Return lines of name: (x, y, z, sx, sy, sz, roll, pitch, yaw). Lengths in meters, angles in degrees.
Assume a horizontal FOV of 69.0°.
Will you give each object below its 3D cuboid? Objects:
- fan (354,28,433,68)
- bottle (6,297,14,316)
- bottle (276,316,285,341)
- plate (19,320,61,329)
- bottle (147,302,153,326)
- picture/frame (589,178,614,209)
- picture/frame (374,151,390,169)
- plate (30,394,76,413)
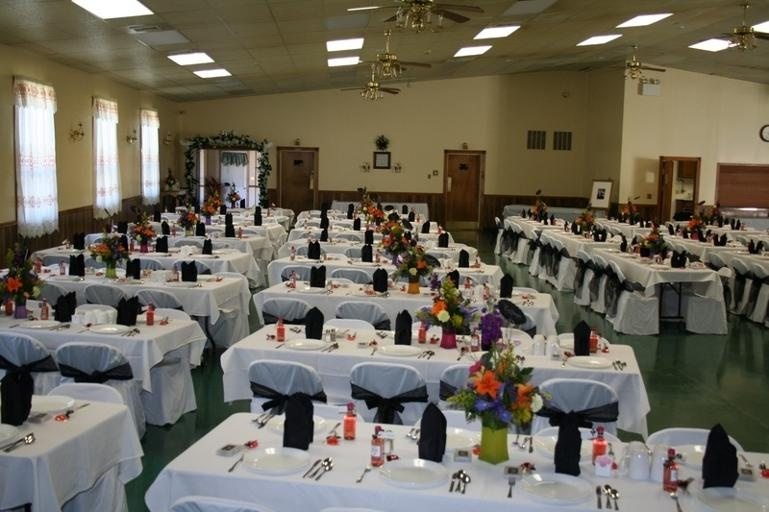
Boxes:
fan: (0.052, -4.034, 10.741, 1.207, 0.622, 1.344, -8, 28, -21)
bottle: (-4.412, 0.599, 6.567, 0.097, 0.202, 0.080, -5, 9, -30)
bottle: (-1.123, 0.774, 6.008, 0.090, 0.277, 0.229, -2, 8, -11)
plate: (-3.832, 0.768, 6.221, 0.463, 0.046, 0.199, 0, 8, 2)
bottle: (-2.703, 0.680, 6.448, 0.078, 0.193, 0.271, -3, 8, -19)
picture/frame: (8.029, -2.291, 20.697, 1.166, 1.489, 0.149, 6, 0, 44)
picture/frame: (-0.133, -3.891, 22.417, 0.613, 0.658, 0.043, 0, 6, -9)
plate: (-2.714, 1.205, 4.581, 0.300, 0.062, 0.363, -5, 9, -32)
